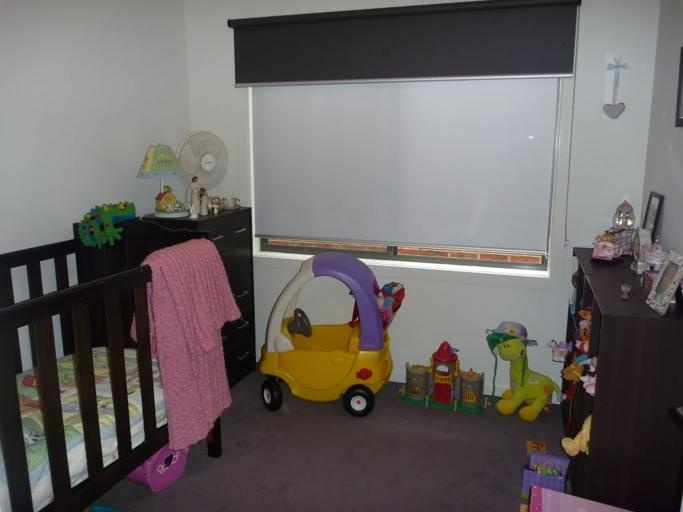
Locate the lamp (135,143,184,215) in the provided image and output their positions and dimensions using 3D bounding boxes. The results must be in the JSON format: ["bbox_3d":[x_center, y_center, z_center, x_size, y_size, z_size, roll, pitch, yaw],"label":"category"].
[{"bbox_3d":[-1.127,-0.489,3.152,0.239,0.428,0.262,-13,21,-40],"label":"lamp"}]

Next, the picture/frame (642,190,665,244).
[{"bbox_3d":[1.696,-0.223,2.719,0.140,0.221,0.012,7,-1,-20],"label":"picture/frame"}]

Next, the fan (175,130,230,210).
[{"bbox_3d":[-0.942,-0.631,3.370,0.105,0.390,0.352,1,-1,35],"label":"fan"}]

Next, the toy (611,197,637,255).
[{"bbox_3d":[1.594,-0.172,2.838,0.134,0.311,0.132,6,15,43],"label":"toy"}]

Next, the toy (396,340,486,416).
[{"bbox_3d":[0.673,0.765,3.334,0.519,0.437,0.262,4,17,17],"label":"toy"}]
